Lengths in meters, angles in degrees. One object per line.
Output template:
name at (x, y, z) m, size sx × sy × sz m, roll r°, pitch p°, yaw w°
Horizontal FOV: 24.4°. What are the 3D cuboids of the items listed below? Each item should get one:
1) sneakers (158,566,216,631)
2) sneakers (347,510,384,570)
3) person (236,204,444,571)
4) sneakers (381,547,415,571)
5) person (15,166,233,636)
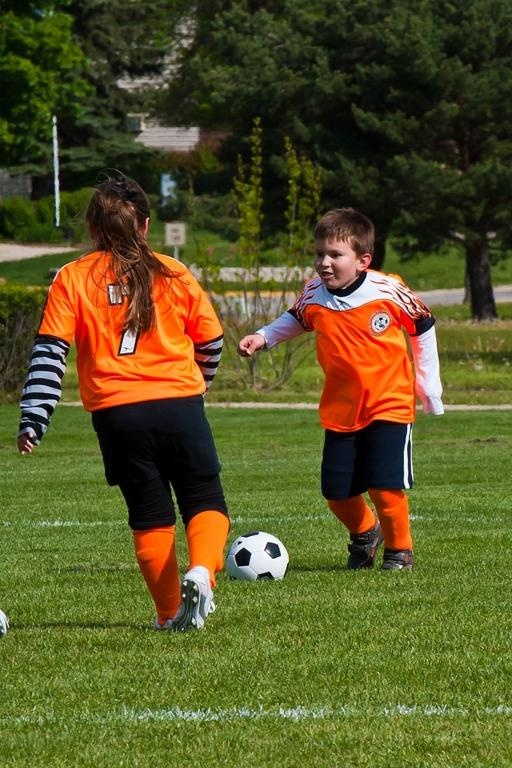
sneakers at (-0.224, 0.723, 3.880) m, size 0.109 × 0.280 × 0.139 m, roll 12°, pitch 34°, yaw 11°
sneakers at (0.493, 0.684, 5.183) m, size 0.094 × 0.120 × 0.262 m, roll -1°, pitch 43°, yaw 38°
person at (0.404, 0.034, 5.015) m, size 0.771 × 1.546 × 0.423 m, roll -2°, pitch 4°, yaw 5°
sneakers at (0.606, 0.745, 5.011) m, size 0.078 × 0.076 × 0.125 m, roll -4°, pitch -20°, yaw 27°
person at (-0.434, 0.082, 3.928) m, size 0.696 × 1.538 × 0.307 m, roll -3°, pitch 4°, yaw -12°
